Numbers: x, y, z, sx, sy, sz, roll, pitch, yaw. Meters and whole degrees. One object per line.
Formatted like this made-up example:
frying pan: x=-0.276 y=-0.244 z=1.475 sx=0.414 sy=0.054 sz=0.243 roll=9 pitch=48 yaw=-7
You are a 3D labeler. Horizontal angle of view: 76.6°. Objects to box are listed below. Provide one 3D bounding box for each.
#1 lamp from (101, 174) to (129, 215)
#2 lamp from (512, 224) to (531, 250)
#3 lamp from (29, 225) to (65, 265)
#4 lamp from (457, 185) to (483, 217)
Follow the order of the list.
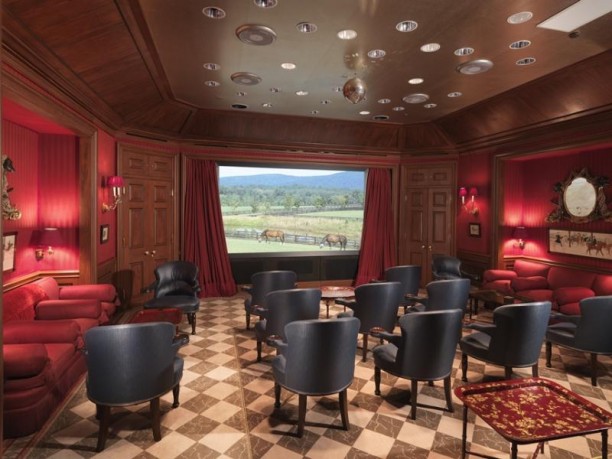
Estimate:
lamp: x=-3.212 y=-0.576 z=6.463 sx=0.354 sy=0.581 sz=0.439 roll=-4 pitch=6 yaw=32
lamp: x=4.095 y=0.188 z=7.423 sx=0.258 sy=0.477 sz=0.390 roll=8 pitch=15 yaw=28
lamp: x=-3.494 y=0.239 z=5.315 sx=0.356 sy=0.364 sz=0.335 roll=4 pitch=-8 yaw=-34
lamp: x=3.374 y=-0.606 z=8.148 sx=0.256 sy=0.578 sz=0.688 roll=-1 pitch=13 yaw=-6
